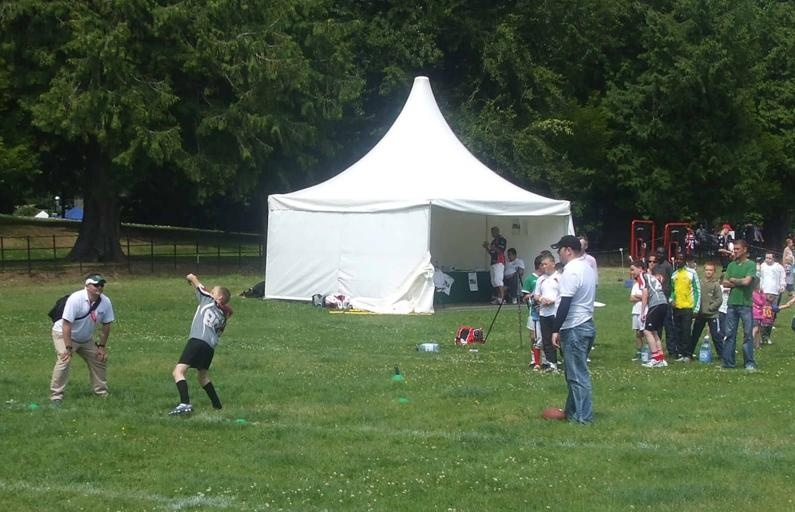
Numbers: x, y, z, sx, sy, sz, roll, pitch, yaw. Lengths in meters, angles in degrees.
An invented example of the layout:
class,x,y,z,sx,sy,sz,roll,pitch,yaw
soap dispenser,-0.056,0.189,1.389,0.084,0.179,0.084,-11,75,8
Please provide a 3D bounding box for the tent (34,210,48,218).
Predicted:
class,x,y,z,sx,sy,sz,roll,pitch,yaw
tent,-29.108,-3.460,110.232,1.250,0.536,1.637,-1,-3,1

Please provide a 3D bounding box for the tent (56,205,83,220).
class,x,y,z,sx,sy,sz,roll,pitch,yaw
tent,-26.231,-3.477,108.186,2.734,0.891,2.882,0,0,-35

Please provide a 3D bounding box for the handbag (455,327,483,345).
class,x,y,z,sx,sy,sz,roll,pitch,yaw
handbag,2.513,2.737,46.732,1.015,0.596,0.765,2,-1,-9

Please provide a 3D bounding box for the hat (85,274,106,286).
class,x,y,z,sx,sy,sz,roll,pitch,yaw
hat,-9.224,0.700,41.297,0.498,0.355,0.405,2,-1,-6

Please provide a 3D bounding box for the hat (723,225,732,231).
class,x,y,z,sx,sy,sz,roll,pitch,yaw
hat,15.851,-1.394,64.828,0.378,0.224,0.432,0,-8,8

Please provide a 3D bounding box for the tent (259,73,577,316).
class,x,y,z,sx,sy,sz,roll,pitch,yaw
tent,0.938,-2.616,53.720,10.821,9.700,5.714,3,-2,-26

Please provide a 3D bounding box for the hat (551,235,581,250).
class,x,y,z,sx,sy,sz,roll,pitch,yaw
hat,5.153,-0.415,40.590,0.651,0.338,0.452,2,0,12
